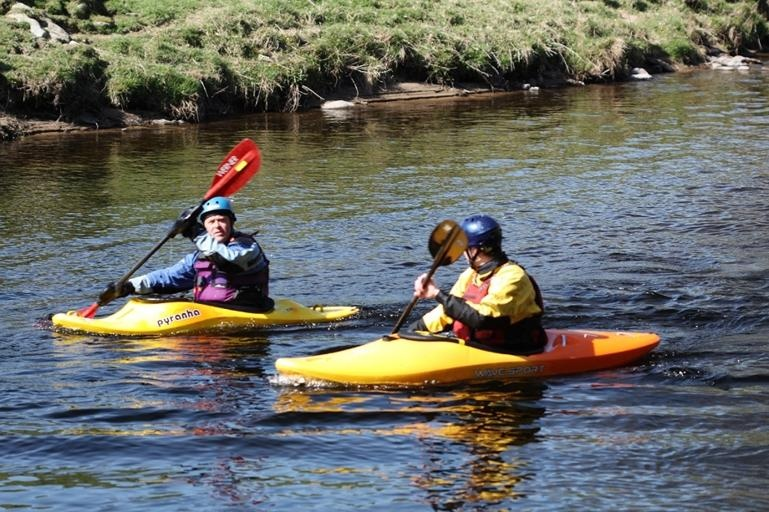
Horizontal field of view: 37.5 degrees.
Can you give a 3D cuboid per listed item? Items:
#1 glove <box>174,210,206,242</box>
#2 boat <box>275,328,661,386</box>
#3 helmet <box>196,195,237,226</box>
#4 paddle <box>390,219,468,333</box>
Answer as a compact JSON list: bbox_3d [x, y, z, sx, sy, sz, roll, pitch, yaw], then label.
[{"bbox_3d":[-2.452,-0.396,14.164,0.314,0.487,0.198,-3,55,-52],"label":"glove"},{"bbox_3d":[1.006,1.164,12.766,4.892,0.371,1.056,-2,0,-1],"label":"boat"},{"bbox_3d":[-2.059,-0.540,13.732,0.454,0.331,0.334,-1,9,6],"label":"helmet"},{"bbox_3d":[0.472,0.228,12.737,0.887,1.273,0.889,-4,6,-3],"label":"paddle"}]
